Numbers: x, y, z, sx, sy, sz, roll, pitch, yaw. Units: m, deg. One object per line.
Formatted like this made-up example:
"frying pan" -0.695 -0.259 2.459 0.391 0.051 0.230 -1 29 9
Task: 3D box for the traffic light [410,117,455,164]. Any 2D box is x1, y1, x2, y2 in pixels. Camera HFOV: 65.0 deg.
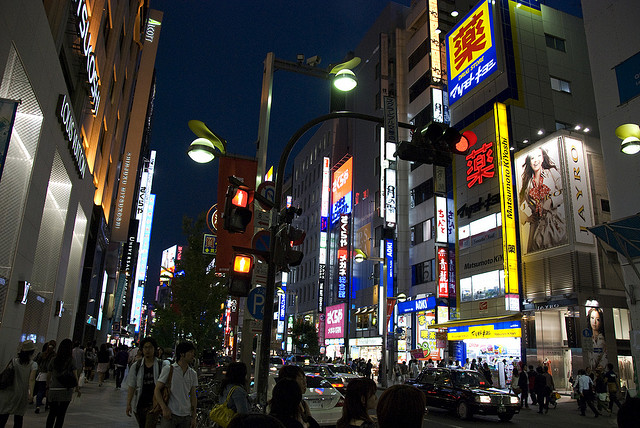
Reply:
"traffic light" 3.167 -2.109 14.271 1.161 1.226 0.618 2 -20 1

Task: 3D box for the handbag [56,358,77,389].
"handbag" -7.108 4.479 14.166 0.555 0.812 0.203 3 -19 -1

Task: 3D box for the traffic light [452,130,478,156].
"traffic light" 4.097 -2.110 14.254 0.609 0.866 0.648 -2 -20 12

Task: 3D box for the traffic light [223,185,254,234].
"traffic light" -2.295 -0.154 14.354 0.675 1.363 0.796 -8 -21 33

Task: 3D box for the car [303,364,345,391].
"car" 0.314 7.834 24.339 1.296 0.994 2.873 1 -9 -12

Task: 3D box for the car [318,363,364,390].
"car" 1.181 9.193 27.139 1.946 1.540 4.444 2 -10 -10

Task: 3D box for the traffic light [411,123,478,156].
"traffic light" 3.439 -1.996 14.372 2.035 0.735 0.825 0 -6 -7

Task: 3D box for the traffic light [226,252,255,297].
"traffic light" -2.261 1.738 14.478 0.717 1.214 0.495 5 -20 -8

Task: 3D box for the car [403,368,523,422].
"car" 6.756 8.170 22.903 4.274 2.239 1.826 -5 -21 19

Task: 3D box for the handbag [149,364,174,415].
"handbag" -3.980 4.424 12.707 0.333 1.218 0.569 16 -24 -34

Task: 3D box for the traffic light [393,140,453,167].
"traffic light" 2.963 -1.666 14.302 1.385 0.347 0.744 11 -37 -8

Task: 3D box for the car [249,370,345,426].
"car" -0.623 7.143 18.767 2.055 1.492 4.471 7 -13 -24

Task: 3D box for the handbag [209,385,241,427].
"handbag" -2.097 4.700 11.870 0.489 0.846 0.847 -2 -32 28
